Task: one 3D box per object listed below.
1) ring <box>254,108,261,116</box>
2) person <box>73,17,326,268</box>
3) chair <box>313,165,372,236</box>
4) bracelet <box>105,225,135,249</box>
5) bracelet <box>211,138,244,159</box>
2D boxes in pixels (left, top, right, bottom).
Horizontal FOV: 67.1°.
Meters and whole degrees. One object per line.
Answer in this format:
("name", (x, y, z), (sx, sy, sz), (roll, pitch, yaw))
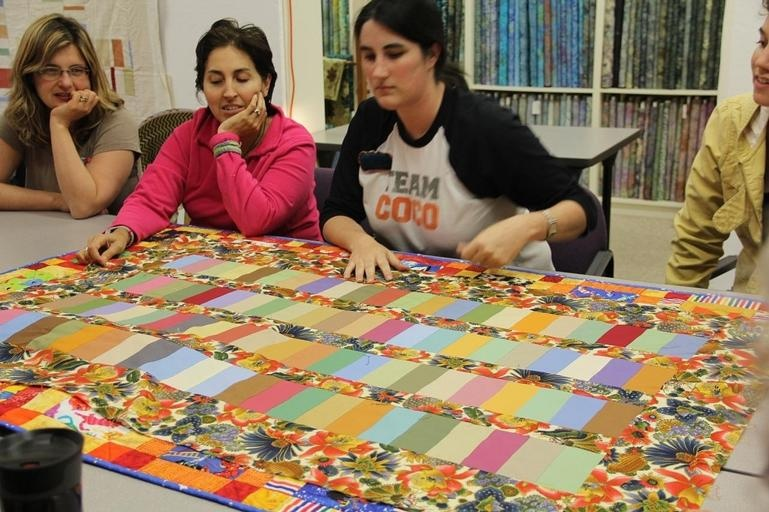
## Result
("ring", (-0.457, -0.502, 2.019), (0.025, 0.026, 0.011), (1, 11, -23))
("person", (-0.657, -0.300, 2.106), (0.628, 0.903, 0.926), (19, 23, 36))
("chair", (-0.215, -0.231, 2.359), (0.263, 0.321, 0.283), (1, 18, 5))
("bracelet", (-0.847, -0.060, 1.794), (0.072, 0.031, 0.078), (3, 12, -2))
("bracelet", (-0.554, -0.368, 1.988), (0.072, 0.031, 0.069), (2, 14, 27))
